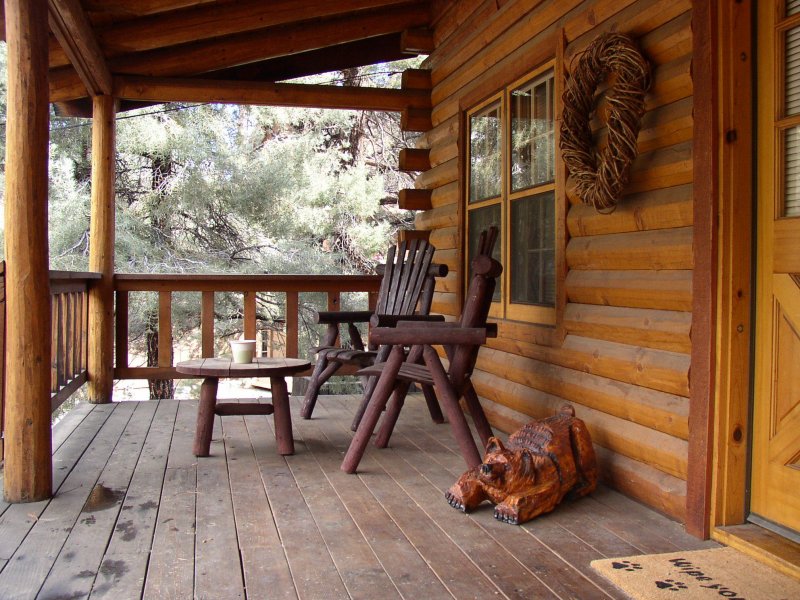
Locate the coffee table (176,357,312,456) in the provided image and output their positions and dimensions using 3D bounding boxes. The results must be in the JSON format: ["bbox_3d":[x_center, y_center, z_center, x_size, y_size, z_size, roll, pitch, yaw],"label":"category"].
[{"bbox_3d":[-1.049,0.734,4.080,0.903,0.563,0.894,-2,-1,-2],"label":"coffee table"}]

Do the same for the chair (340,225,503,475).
[{"bbox_3d":[0.117,0.294,3.840,1.196,1.431,1.110,-3,5,-10],"label":"chair"}]

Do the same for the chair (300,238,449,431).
[{"bbox_3d":[-0.214,0.248,4.565,1.013,1.347,1.032,-7,6,-38],"label":"chair"}]

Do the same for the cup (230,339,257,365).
[{"bbox_3d":[-1.070,0.357,3.882,0.160,0.118,0.157,0,-5,0],"label":"cup"}]
